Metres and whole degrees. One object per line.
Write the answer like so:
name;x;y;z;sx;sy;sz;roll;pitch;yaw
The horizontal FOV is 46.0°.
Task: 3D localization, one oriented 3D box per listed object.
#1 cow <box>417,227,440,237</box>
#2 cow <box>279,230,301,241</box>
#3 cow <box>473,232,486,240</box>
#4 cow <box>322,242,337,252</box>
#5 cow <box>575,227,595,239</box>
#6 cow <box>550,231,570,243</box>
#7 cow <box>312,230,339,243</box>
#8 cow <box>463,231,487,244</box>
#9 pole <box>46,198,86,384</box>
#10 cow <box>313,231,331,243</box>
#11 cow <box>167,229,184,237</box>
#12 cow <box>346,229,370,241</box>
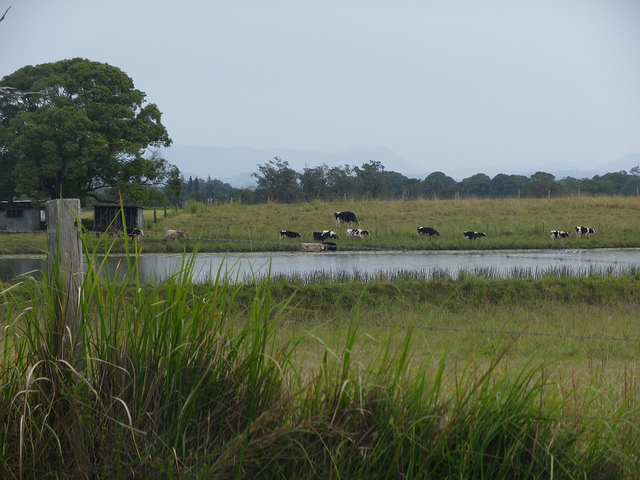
cow;4.893;-0.320;33.684;1.304;0.418;0.793;0;2;-43
cow;-1.236;-0.170;32.610;0.963;0.626;0.360;-1;8;-19
cow;7.058;-0.175;33.193;0.685;0.452;0.264;-6;9;-23
cow;0.394;0.284;28.928;0.524;0.358;0.214;5;0;2
cow;12.372;-0.324;35.052;0.751;0.468;1.511;2;1;23
cow;10.644;-0.148;33.375;0.775;0.434;1.329;2;1;18
cow;0.323;-0.124;32.466;1.159;0.760;0.500;0;6;-19
cow;6.809;-0.081;33.157;1.006;0.706;0.384;0;4;-4
pole;-2.323;0.362;6.884;0.262;1.761;0.354;-17;-31;-4
cow;0.093;-0.112;32.312;0.798;0.696;0.321;0;7;-4
cow;-5.822;-0.203;30.633;0.638;0.403;0.243;-2;22;-39
cow;1.700;-0.214;34.237;1.206;0.781;0.446;-1;2;5
